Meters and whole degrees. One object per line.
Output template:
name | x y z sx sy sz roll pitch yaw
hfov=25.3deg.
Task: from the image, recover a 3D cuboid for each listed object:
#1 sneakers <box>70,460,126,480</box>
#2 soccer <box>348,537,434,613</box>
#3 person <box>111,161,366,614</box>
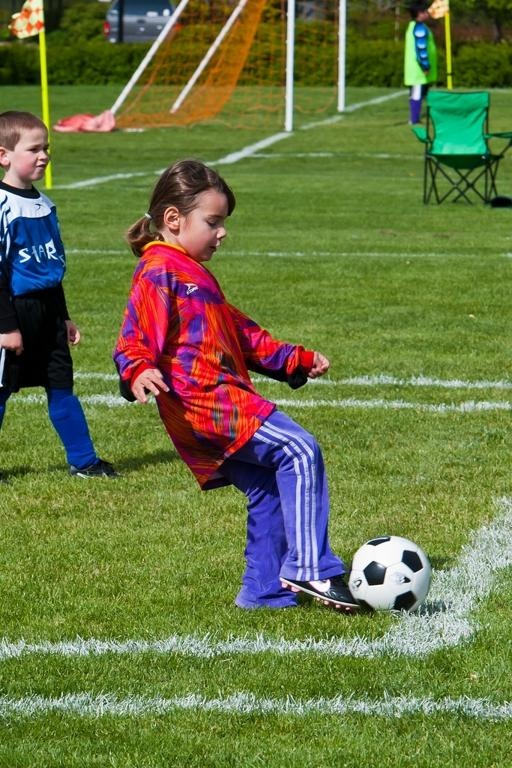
sneakers | -0.627 0.345 4.508 0.226 0.076 0.071 -1 3 -4
soccer | 0.355 0.531 3.132 0.234 0.200 0.197 0 -13 -1
person | -0.063 0.025 3.041 0.611 1.240 0.554 -4 12 -3
